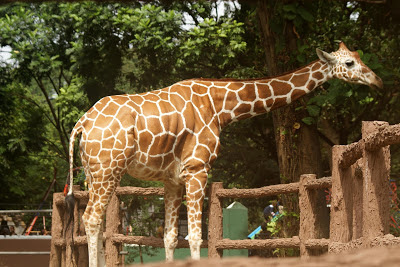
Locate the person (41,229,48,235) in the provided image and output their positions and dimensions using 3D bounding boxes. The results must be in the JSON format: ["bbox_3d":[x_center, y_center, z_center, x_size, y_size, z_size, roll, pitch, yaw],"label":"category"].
[{"bbox_3d":[-5.980,3.835,28.167,0.224,0.271,2.158,-8,-7,-13],"label":"person"}]
